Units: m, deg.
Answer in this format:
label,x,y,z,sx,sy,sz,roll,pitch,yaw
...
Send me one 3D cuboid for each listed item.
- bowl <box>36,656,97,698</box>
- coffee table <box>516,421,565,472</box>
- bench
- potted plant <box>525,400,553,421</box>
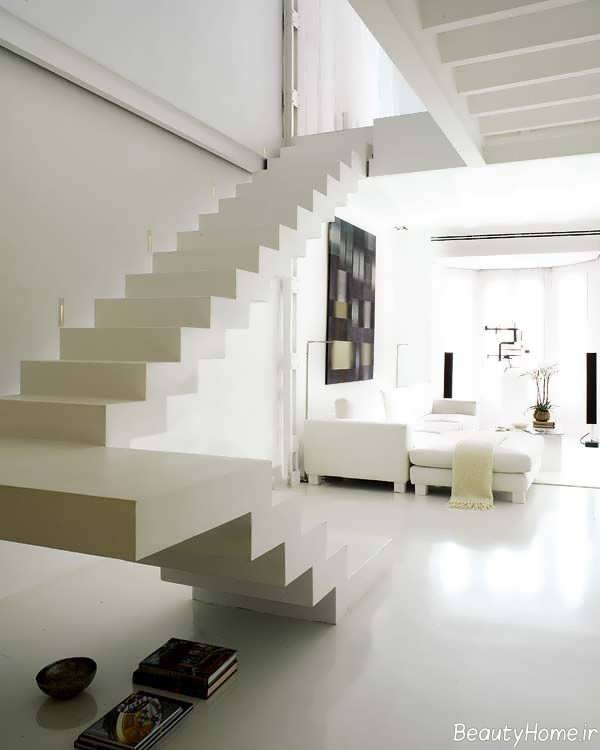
label,x,y,z,sx,sy,sz,roll,pitch,yaw
bowl,-0.723,0.947,1.814,0.158,0.068,0.154,2,-1,0
coffee table,2.580,0.710,6.131,0.338,0.686,0.568,0,2,23
bench,1.595,0.802,5.285,1.085,0.362,1.201,1,-1,25
potted plant,2.600,0.406,6.356,0.234,0.166,0.292,0,-4,-9
